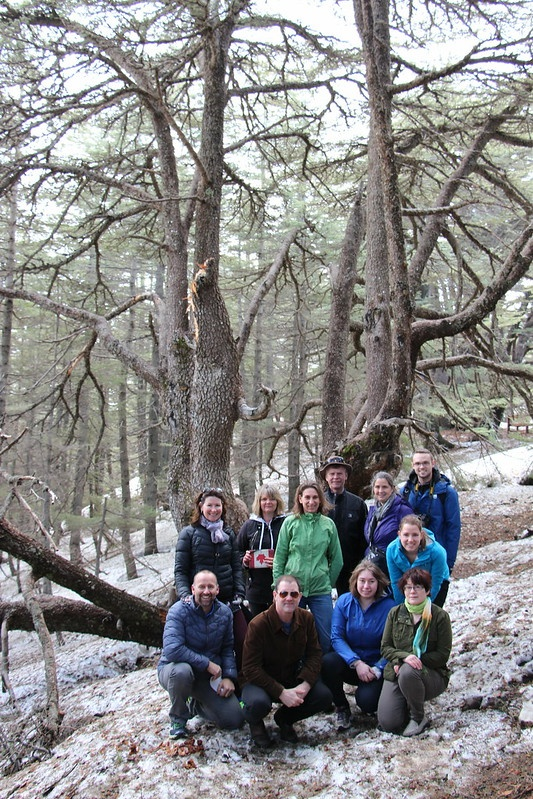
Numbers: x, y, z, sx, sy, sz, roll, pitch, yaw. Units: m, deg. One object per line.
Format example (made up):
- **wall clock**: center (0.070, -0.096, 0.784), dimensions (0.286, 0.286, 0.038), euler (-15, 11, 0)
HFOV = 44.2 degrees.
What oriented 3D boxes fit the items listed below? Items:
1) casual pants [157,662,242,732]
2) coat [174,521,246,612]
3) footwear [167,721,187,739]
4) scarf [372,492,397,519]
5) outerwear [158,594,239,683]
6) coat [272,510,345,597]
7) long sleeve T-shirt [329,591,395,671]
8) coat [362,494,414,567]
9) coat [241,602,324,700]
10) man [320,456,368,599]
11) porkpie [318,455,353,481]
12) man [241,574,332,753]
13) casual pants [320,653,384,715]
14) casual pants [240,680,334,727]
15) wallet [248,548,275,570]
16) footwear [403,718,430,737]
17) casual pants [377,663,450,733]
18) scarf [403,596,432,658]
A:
- **casual pants**: center (-0.503, 2.294, 4.955), dimensions (0.547, 0.454, 0.574), euler (14, 22, -15)
- **coat**: center (-0.478, 1.394, 5.633), dimensions (0.578, 0.728, 0.427), euler (1, -7, -19)
- **footwear**: center (-0.648, 2.409, 4.768), dimensions (0.142, 0.089, 0.182), euler (-12, -6, -13)
- **scarf**: center (0.987, 0.907, 5.587), dimensions (0.223, 0.133, 0.171), euler (-32, 30, -29)
- **outerwear**: center (-0.529, 1.859, 5.074), dimensions (0.635, 0.619, 0.452), euler (26, -36, -34)
- **coat**: center (0.316, 1.281, 5.452), dimensions (0.642, 0.692, 0.363), euler (7, -26, -4)
- **long sleeve T-shirt**: center (0.778, 1.803, 5.177), dimensions (0.533, 0.583, 0.457), euler (9, -4, 19)
- **coat**: center (1.010, 1.186, 5.670), dimensions (0.484, 0.674, 0.323), euler (6, 10, 39)
- **coat**: center (0.117, 1.901, 4.931), dimensions (0.580, 0.694, 0.604), euler (-1, 3, -17)
- **man**: center (0.659, 1.282, 6.000), dimensions (0.488, 1.415, 0.392), euler (-1, 10, 19)
- **porkpie**: center (0.696, 0.683, 6.524), dimensions (0.297, 0.151, 0.356), euler (-1, -29, 2)
- **man**: center (0.088, 1.965, 4.912), dimensions (0.682, 1.184, 0.610), euler (4, -2, -34)
- **casual pants**: center (0.641, 2.131, 4.936), dimensions (0.437, 0.314, 0.539), euler (8, 37, 5)
- **casual pants**: center (0.115, 2.239, 4.760), dimensions (0.451, 0.418, 0.167), euler (19, 32, -17)
- **wallet**: center (-0.046, 1.366, 5.619), dimensions (0.175, 0.136, 0.031), euler (-2, 2, 8)
- **footwear**: center (1.011, 2.229, 4.489), dimensions (0.210, 0.083, 0.077), euler (0, -36, -43)
- **casual pants**: center (0.988, 2.087, 4.627), dimensions (0.356, 0.463, 0.403), euler (16, -39, -13)
- **scarf**: center (1.065, 1.632, 4.686), dimensions (0.185, 0.445, 0.137), euler (3, 4, 14)
